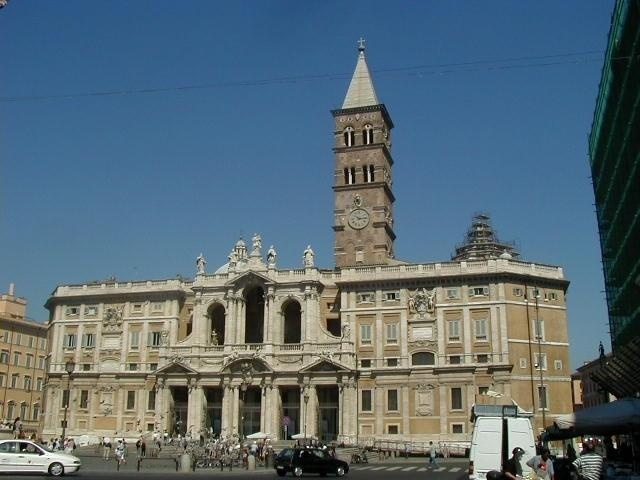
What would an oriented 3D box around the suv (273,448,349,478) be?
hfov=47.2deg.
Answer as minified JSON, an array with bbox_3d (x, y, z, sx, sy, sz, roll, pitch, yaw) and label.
[{"bbox_3d":[-0.798,15.723,51.892,4.431,1.511,2.241,0,-13,-7],"label":"suv"}]

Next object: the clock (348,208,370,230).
[{"bbox_3d":[4.917,-2.502,92.273,2.053,2.133,0.225,-30,-22,2],"label":"clock"}]

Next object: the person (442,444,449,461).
[{"bbox_3d":[12.531,21.169,73.886,0.745,1.415,1.930,-4,-21,10],"label":"person"}]

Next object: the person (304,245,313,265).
[{"bbox_3d":[-1.378,2.059,83.410,1.063,2.332,0.680,-8,-23,18],"label":"person"}]
